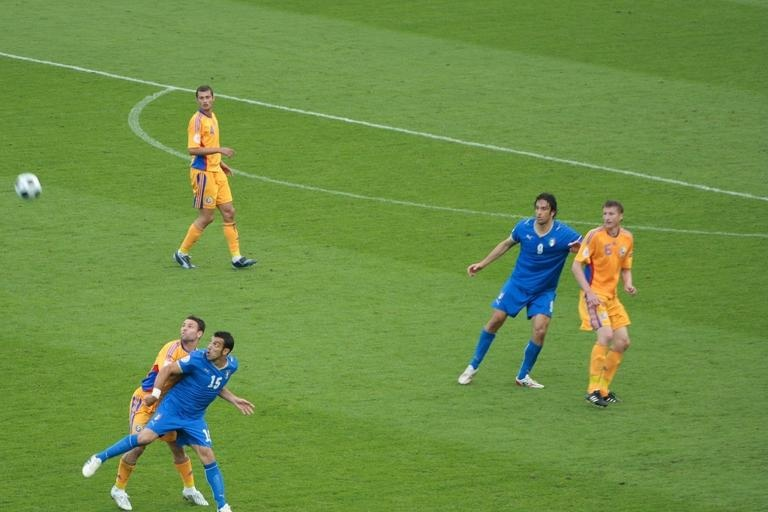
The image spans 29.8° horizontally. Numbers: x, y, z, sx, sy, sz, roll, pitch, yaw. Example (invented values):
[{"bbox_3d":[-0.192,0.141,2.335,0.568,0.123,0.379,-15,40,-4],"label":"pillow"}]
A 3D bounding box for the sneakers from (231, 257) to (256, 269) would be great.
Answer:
[{"bbox_3d":[-2.271,0.098,24.242,0.494,0.191,0.160,-5,27,5],"label":"sneakers"}]

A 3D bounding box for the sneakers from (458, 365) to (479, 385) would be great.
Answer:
[{"bbox_3d":[1.227,1.758,21.304,0.196,0.139,0.370,10,17,25],"label":"sneakers"}]

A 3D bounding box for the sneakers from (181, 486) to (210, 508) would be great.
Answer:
[{"bbox_3d":[-2.468,3.174,18.944,0.483,0.183,0.155,19,39,7],"label":"sneakers"}]

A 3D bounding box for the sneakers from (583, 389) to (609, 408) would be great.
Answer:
[{"bbox_3d":[3.056,2.050,20.719,0.450,0.176,0.147,11,31,-15],"label":"sneakers"}]

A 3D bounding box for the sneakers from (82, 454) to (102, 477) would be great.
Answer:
[{"bbox_3d":[-3.757,2.727,18.633,0.211,0.315,0.168,2,18,-37],"label":"sneakers"}]

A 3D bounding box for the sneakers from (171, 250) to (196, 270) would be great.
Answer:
[{"bbox_3d":[-3.355,0.069,24.275,0.499,0.203,0.158,31,38,-21],"label":"sneakers"}]

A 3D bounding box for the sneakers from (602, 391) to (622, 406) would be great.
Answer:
[{"bbox_3d":[3.327,2.066,20.863,0.382,0.125,0.119,-3,14,-31],"label":"sneakers"}]
